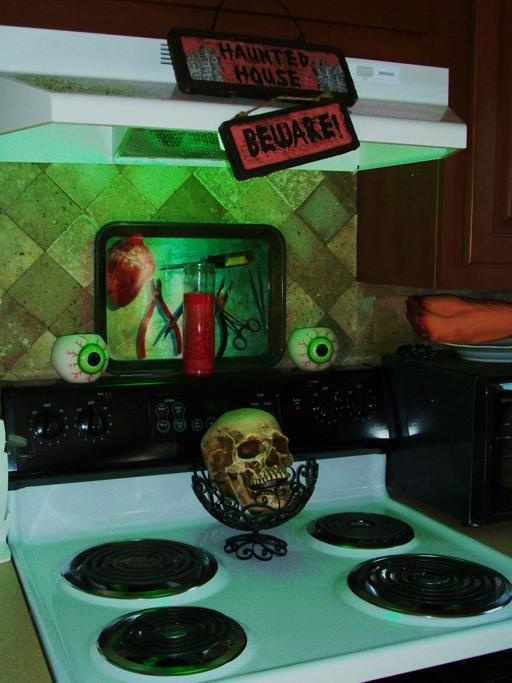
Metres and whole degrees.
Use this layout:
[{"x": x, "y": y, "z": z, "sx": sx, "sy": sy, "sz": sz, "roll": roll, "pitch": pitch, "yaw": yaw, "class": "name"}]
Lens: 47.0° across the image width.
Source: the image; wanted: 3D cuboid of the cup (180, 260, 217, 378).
[{"x": -0.114, "y": -0.048, "z": 1.178, "sx": 0.076, "sy": 0.215, "sz": 0.106, "roll": -4, "pitch": 0, "yaw": -4, "class": "cup"}]
